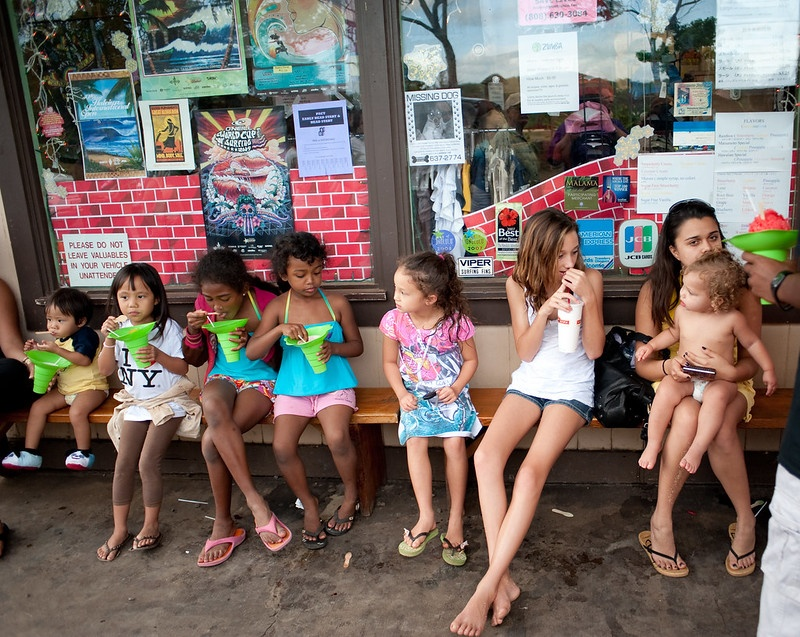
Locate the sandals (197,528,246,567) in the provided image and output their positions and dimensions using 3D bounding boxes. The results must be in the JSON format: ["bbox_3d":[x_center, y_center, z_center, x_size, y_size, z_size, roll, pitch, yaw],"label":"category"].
[{"bbox_3d":[-0.947,1.202,3.165,0.102,0.064,0.247,7,20,25],"label":"sandals"}]

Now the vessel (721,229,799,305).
[{"bbox_3d":[1.524,-0.199,2.534,0.314,0.235,0.320,-5,4,34],"label":"vessel"}]

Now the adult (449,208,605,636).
[{"bbox_3d":[0.655,0.382,2.847,0.568,1.653,1.221,0,19,18],"label":"adult"}]

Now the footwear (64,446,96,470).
[{"bbox_3d":[-1.879,0.818,3.515,0.103,0.078,0.178,2,-6,-12],"label":"footwear"}]

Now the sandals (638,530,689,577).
[{"bbox_3d":[1.260,1.118,2.929,0.141,0.134,0.289,-10,18,-13],"label":"sandals"}]

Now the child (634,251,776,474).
[{"bbox_3d":[1.416,0.201,2.801,0.613,1.004,0.561,1,19,20],"label":"child"}]

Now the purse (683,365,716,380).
[{"bbox_3d":[1.387,0.257,2.810,0.139,0.090,0.071,2,20,23],"label":"purse"}]

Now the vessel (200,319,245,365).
[{"bbox_3d":[-0.924,0.110,3.178,0.228,0.187,0.229,-5,9,-10],"label":"vessel"}]

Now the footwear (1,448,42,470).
[{"bbox_3d":[-2.220,0.837,3.567,0.225,0.095,0.112,10,-5,-24],"label":"footwear"}]

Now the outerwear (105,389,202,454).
[{"bbox_3d":[-1.321,0.565,3.235,0.416,0.389,0.199,6,-12,-5],"label":"outerwear"}]

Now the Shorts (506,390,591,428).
[{"bbox_3d":[0.764,0.447,3.031,0.283,0.067,0.176,7,0,24],"label":"Shorts"}]

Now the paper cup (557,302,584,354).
[{"bbox_3d":[0.812,0.040,2.883,0.111,0.271,0.114,-6,18,2],"label":"paper cup"}]

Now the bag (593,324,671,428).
[{"bbox_3d":[1.133,0.299,3.119,0.223,0.496,0.435,6,-2,-24],"label":"bag"}]

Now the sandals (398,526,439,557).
[{"bbox_3d":[0.102,1.134,3.100,0.224,0.084,0.112,-13,15,-40],"label":"sandals"}]

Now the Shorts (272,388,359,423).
[{"bbox_3d":[-0.470,0.462,3.308,0.318,0.096,0.192,-4,-4,-5],"label":"Shorts"}]

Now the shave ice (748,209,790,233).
[{"bbox_3d":[1.539,-0.398,2.505,0.124,0.042,0.115,8,51,37],"label":"shave ice"}]

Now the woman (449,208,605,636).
[{"bbox_3d":[0.655,0.382,2.847,0.568,1.653,1.219,0,19,18],"label":"woman"}]

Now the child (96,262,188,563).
[{"bbox_3d":[-1.383,0.681,3.286,0.291,0.999,0.221,11,5,2],"label":"child"}]

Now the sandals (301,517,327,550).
[{"bbox_3d":[-0.462,1.152,3.214,0.133,0.106,0.127,-10,18,-12],"label":"sandals"}]

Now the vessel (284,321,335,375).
[{"bbox_3d":[-0.425,0.128,3.234,0.284,0.206,0.251,-25,6,17],"label":"vessel"}]

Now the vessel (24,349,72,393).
[{"bbox_3d":[-2.068,0.324,3.523,0.253,0.189,0.246,28,3,16],"label":"vessel"}]

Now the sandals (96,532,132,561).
[{"bbox_3d":[-1.544,1.220,3.232,0.092,0.041,0.174,5,12,17],"label":"sandals"}]

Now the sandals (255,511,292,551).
[{"bbox_3d":[-0.667,1.131,3.177,0.161,0.193,0.127,-10,18,-12],"label":"sandals"}]

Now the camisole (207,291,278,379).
[{"bbox_3d":[-0.871,0.099,3.387,0.366,0.460,0.155,8,3,8],"label":"camisole"}]
